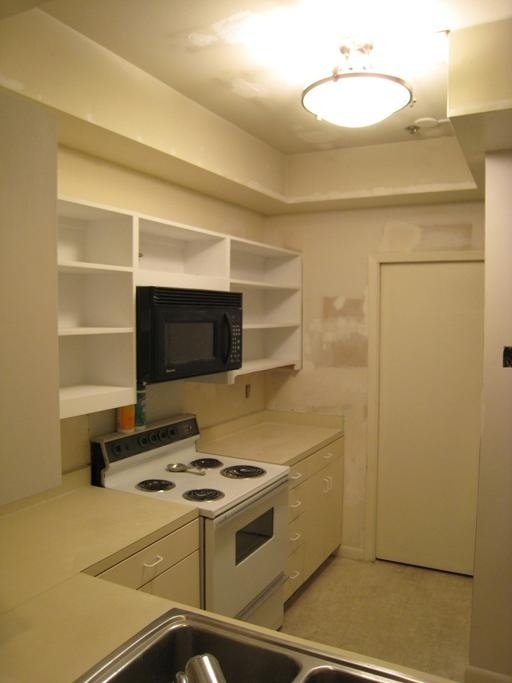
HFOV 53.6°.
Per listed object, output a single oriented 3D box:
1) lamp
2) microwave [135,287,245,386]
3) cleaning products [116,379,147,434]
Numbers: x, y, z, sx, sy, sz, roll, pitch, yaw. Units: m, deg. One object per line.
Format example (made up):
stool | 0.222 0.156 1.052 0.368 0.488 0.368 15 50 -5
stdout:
lamp | 0.272 -0.827 1.579 0.246 0.166 0.254 -12 9 -25
microwave | -0.272 -0.035 2.224 0.222 0.381 0.591 4 6 34
cleaning products | -0.550 0.266 2.195 0.120 0.240 0.152 -4 10 -41
